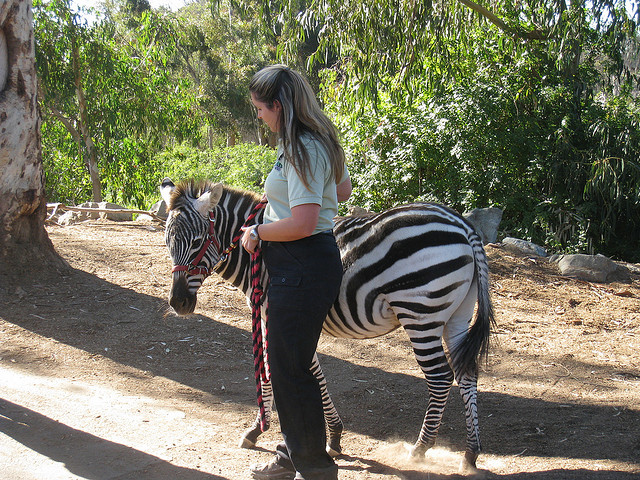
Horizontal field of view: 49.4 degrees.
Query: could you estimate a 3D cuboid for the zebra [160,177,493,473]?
[{"bbox_3d":[-0.116,0.850,7.254,3.716,2.048,1.562,9,4,18],"label":"zebra"}]
